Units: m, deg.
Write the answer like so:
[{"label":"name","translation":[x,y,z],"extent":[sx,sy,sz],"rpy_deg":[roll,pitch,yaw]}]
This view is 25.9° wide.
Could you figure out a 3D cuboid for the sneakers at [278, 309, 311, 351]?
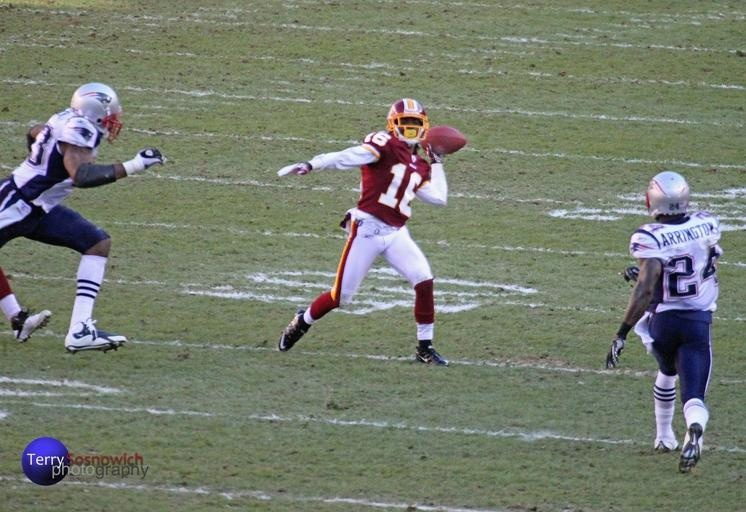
[{"label":"sneakers","translation":[-0.783,0.731,15.938],"extent":[0.170,0.473,0.201],"rpy_deg":[41,15,-36]}]

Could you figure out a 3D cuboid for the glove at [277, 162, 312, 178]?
[{"label":"glove","translation":[-0.725,-0.840,15.398],"extent":[0.349,0.091,0.218],"rpy_deg":[-7,8,-15]}]

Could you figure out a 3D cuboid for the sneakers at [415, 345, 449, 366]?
[{"label":"sneakers","translation":[0.536,0.950,15.815],"extent":[0.438,0.135,0.132],"rpy_deg":[10,22,14]}]

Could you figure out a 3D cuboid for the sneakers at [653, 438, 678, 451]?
[{"label":"sneakers","translation":[2.685,1.720,14.890],"extent":[0.255,0.079,0.082],"rpy_deg":[-4,35,-1]}]

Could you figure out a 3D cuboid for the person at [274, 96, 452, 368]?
[{"label":"person","translation":[0.051,-0.278,15.785],"extent":[1.611,2.561,0.471],"rpy_deg":[6,6,-7]}]

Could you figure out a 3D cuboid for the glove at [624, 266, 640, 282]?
[{"label":"glove","translation":[2.365,0.144,14.854],"extent":[0.136,0.076,0.235],"rpy_deg":[-7,17,16]}]
